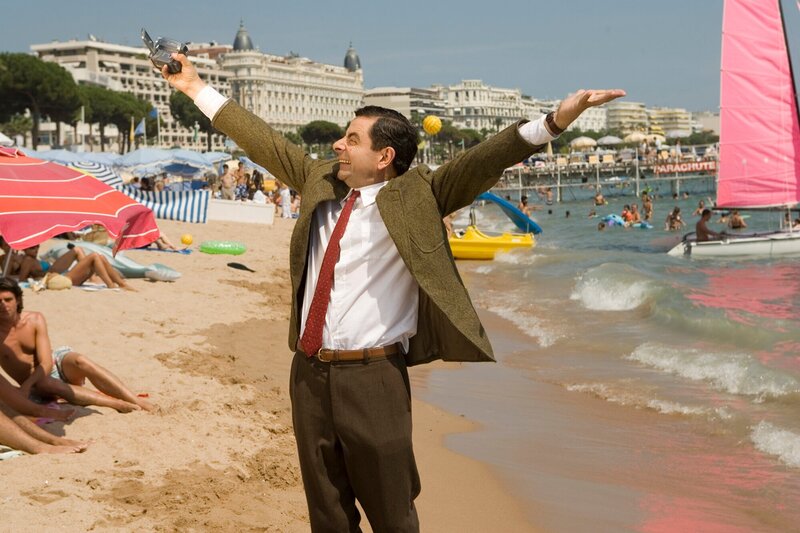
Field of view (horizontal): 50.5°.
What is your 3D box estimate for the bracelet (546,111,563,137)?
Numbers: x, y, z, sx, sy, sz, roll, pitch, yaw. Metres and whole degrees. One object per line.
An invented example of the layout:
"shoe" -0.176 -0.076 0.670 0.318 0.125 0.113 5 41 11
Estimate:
"bracelet" 1.211 -1.107 6.648 0.089 0.171 0.175 -17 12 12
